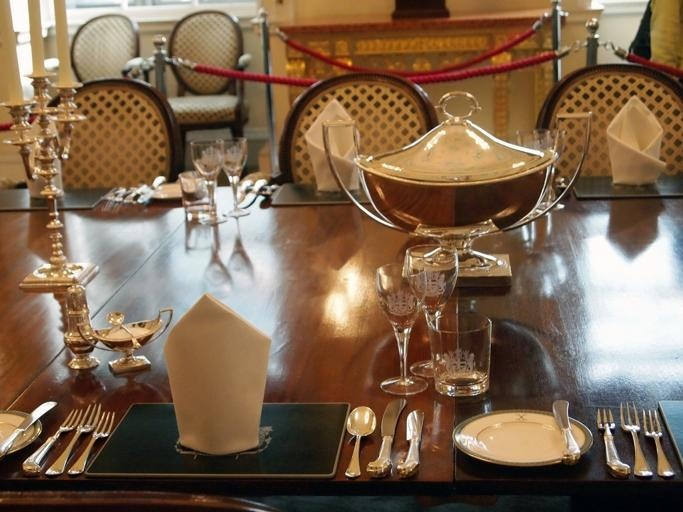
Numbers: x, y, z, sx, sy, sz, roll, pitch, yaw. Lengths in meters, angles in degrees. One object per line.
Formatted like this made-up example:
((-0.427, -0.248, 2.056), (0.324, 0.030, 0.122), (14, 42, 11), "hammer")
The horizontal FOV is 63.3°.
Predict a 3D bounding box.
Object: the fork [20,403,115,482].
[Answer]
((-0.334, 0.227, 0.691), (0.032, 0.016, 0.108), (0, 18, 8), "fork")

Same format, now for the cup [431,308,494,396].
((0.156, 0.129, 0.791), (0.089, 0.119, 0.098), (-1, 7, 4), "cup")

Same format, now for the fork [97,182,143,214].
((-0.670, -0.195, 1.651), (0.076, 0.040, 0.125), (-8, 26, 4), "fork")

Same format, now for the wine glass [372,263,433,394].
((0.085, 0.098, 0.766), (0.068, 0.169, 0.072), (-2, 9, -16), "wine glass")
